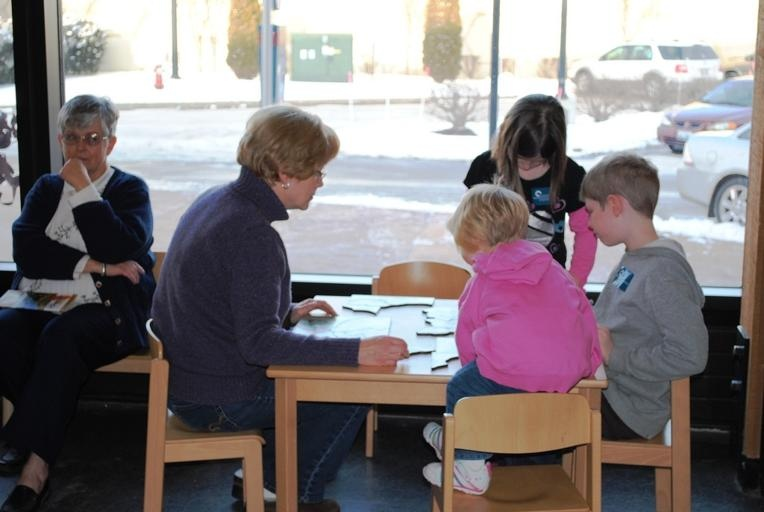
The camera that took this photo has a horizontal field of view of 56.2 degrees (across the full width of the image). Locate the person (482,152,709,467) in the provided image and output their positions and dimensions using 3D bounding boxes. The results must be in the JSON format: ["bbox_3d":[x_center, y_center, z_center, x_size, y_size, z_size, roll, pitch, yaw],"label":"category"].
[{"bbox_3d":[1.051,0.315,3.371,1.028,1.545,0.786,5,7,35],"label":"person"}]

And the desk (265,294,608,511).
[{"bbox_3d":[-0.041,0.537,3.214,1.146,0.678,0.860,0,2,6],"label":"desk"}]

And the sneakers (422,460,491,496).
[{"bbox_3d":[0.304,0.827,2.782,0.279,0.124,0.110,5,14,24],"label":"sneakers"}]
